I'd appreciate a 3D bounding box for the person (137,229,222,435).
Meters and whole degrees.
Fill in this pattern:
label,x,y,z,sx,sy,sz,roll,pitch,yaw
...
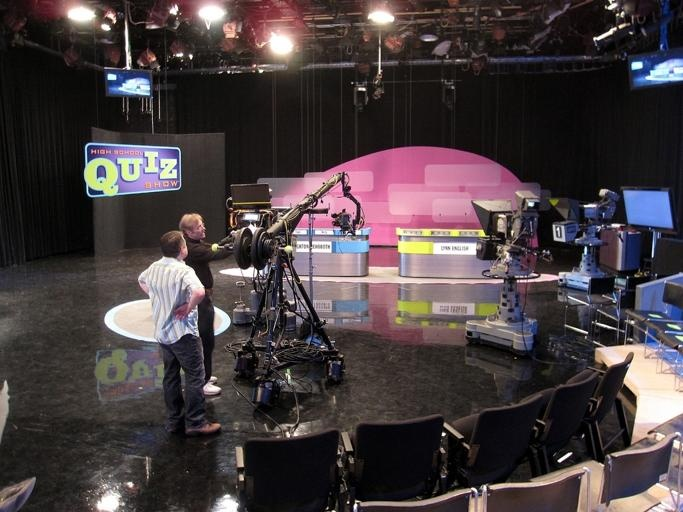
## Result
label,x,y,z,sx,sy,sz,roll,pitch,yaw
person,-1.412,0.688,4.608,0.627,1.772,0.290,6,13,28

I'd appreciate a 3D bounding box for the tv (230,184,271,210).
label,x,y,z,sx,sy,sz,roll,pitch,yaw
tv,-1.235,-0.805,7.247,0.454,0.356,0.336,1,10,-3

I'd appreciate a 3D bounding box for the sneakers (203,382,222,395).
label,x,y,z,sx,sy,sz,roll,pitch,yaw
sneakers,-1.305,1.373,5.402,0.244,0.107,0.091,2,7,32
